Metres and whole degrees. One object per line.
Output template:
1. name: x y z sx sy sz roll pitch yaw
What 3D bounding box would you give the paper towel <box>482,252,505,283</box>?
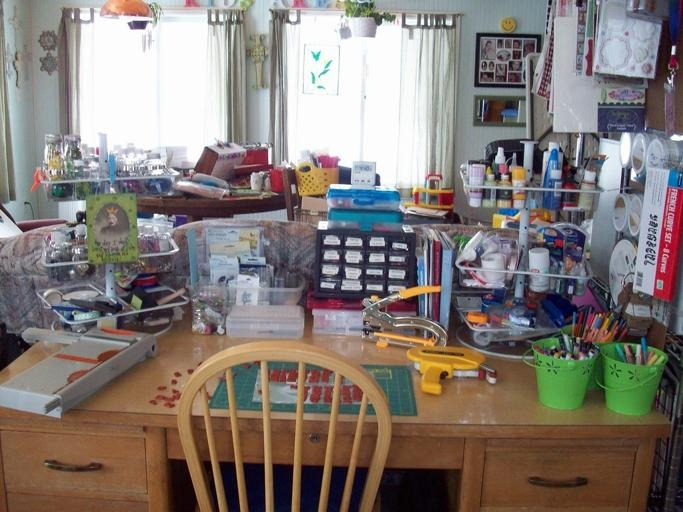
1. paper towel: 0.510 0.033 1.907 0.067 0.092 0.055 -15 8 -3

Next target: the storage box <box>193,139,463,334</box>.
1. storage box: 0.052 0.002 2.144 0.781 0.499 0.344 6 16 32

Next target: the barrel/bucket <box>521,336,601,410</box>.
1. barrel/bucket: 0.642 0.342 1.678 0.166 0.167 0.196 3 13 8

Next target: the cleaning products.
1. cleaning products: 0.582 -0.272 1.967 0.344 0.229 0.266 2 14 18

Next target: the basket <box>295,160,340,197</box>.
1. basket: -0.170 -0.590 4.460 0.314 0.266 0.263 -1 7 -9

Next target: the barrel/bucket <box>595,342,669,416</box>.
1. barrel/bucket: 0.832 0.334 1.675 0.190 0.163 0.188 -3 15 1

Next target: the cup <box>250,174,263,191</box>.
1. cup: -0.650 -0.568 4.477 0.122 0.128 0.078 0 3 -20

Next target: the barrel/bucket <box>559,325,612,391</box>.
1. barrel/bucket: 0.742 0.305 1.769 0.143 0.121 0.150 0 14 0

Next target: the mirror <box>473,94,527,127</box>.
1. mirror: 1.763 -1.580 6.354 0.554 0.355 0.171 1 13 13

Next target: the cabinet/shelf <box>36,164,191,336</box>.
1. cabinet/shelf: -0.808 -0.078 2.043 0.436 0.521 0.269 -7 25 -25

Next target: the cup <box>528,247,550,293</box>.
1. cup: 0.654 0.052 1.888 0.069 0.145 0.120 2 14 18
